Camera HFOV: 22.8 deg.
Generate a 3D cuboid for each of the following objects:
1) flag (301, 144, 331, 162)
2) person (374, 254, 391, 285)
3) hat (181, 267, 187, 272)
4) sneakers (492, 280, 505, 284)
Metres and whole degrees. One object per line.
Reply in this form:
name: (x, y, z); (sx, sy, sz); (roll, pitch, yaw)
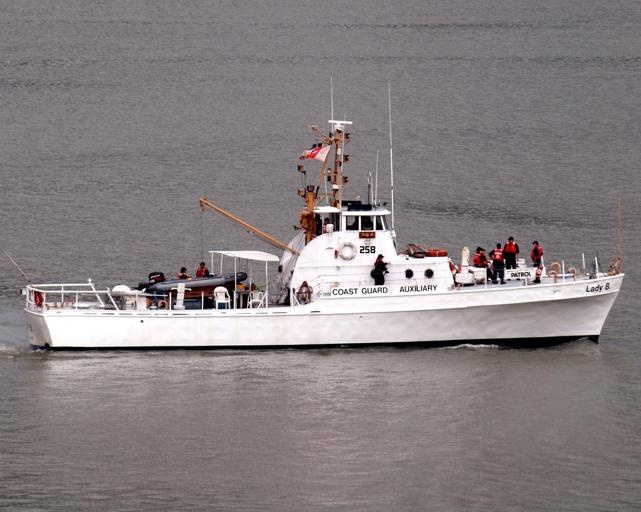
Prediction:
flag: (-0.213, -5.041, 82.656); (1.180, 0.422, 1.149); (-6, 11, 29)
person: (3.064, 0.752, 80.845); (0.892, 1.520, 0.474); (-2, 2, -36)
hat: (-7.214, 0.786, 83.446); (0.180, 0.220, 0.223); (11, -28, 22)
sneakers: (9.256, 1.394, 81.889); (0.695, 0.261, 0.218); (-1, 1, 6)
